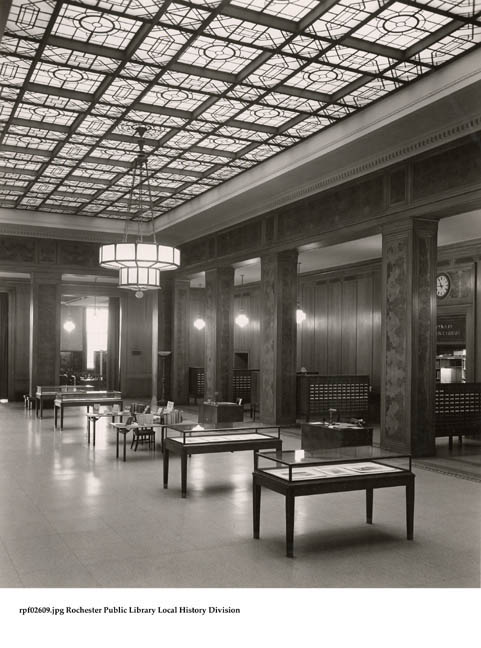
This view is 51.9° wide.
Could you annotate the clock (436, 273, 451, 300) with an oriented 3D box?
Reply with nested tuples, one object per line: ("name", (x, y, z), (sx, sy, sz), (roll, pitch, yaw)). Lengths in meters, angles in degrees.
("clock", (5.057, -0.939, 12.300), (0.041, 0.641, 0.378), (3, -5, -26))

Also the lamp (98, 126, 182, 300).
("lamp", (-1.868, -2.099, 9.127), (1.431, 3.487, 1.677), (-5, -11, 23))

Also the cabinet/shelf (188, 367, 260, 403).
("cabinet/shelf", (-0.402, 1.943, 15.544), (1.457, 1.070, 4.076), (4, -7, -23))

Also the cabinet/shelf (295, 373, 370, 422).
("cabinet/shelf", (2.221, 1.724, 11.474), (1.995, 1.044, 0.494), (5, -6, -34))
